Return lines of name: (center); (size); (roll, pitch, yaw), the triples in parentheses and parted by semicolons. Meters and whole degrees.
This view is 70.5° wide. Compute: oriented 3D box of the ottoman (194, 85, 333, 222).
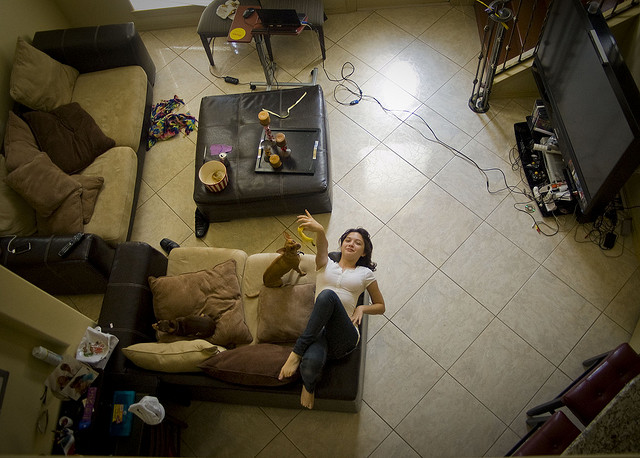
ottoman: (-0.619, -0.925, 4.850); (1.452, 0.554, 1.589); (-8, 73, -2)

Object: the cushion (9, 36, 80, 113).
cushion: (-2.909, -1.539, 4.742); (0.213, 0.749, 0.828); (-8, 66, 25)

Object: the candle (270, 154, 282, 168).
candle: (-0.421, -0.660, 4.385); (0.117, 0.119, 0.085); (-7, 43, -10)

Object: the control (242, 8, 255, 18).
control: (-0.776, -2.347, 4.901); (0.124, 0.082, 0.091); (-31, 52, -30)

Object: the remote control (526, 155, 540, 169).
remote control: (2.177, -0.687, 4.616); (0.117, 0.045, 0.137); (5, 72, 22)

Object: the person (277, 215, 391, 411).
person: (0.062, 0.599, 3.656); (0.589, 1.446, 1.073); (3, 6, 36)

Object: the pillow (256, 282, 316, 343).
pillow: (-0.293, 0.694, 3.817); (0.450, 0.146, 0.489); (1, 74, 12)

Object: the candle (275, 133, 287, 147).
candle: (-0.384, -0.869, 4.401); (0.091, 0.128, 0.105); (-17, 46, -20)

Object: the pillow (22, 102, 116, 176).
pillow: (-2.577, -0.966, 4.617); (0.734, 0.206, 0.727); (-41, 100, -38)

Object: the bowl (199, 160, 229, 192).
bowl: (-1.042, -0.528, 4.453); (0.256, 0.175, 0.309); (-11, 75, 0)

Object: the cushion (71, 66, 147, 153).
cushion: (-2.264, -1.309, 5.138); (0.743, 0.272, 1.231); (-8, 74, -1)

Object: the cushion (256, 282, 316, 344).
cushion: (-0.292, 0.699, 3.813); (0.450, 0.144, 0.490); (0, 74, 12)

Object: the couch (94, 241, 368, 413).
couch: (-0.762, 0.870, 4.036); (2.061, 1.032, 1.422); (1, 50, 8)

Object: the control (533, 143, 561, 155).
control: (2.261, -0.802, 4.483); (0.266, 0.047, 0.062); (15, 66, 15)

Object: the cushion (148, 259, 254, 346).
cushion: (-0.991, 0.734, 4.078); (0.650, 0.204, 0.711); (-8, 70, -10)

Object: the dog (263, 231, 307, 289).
dog: (-0.309, 0.262, 3.819); (0.368, 0.502, 0.283); (-19, 46, -1)

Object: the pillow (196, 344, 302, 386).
pillow: (-0.587, 1.037, 3.583); (0.707, 0.137, 0.322); (4, 44, 1)

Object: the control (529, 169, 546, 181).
control: (2.212, -0.537, 4.592); (0.095, 0.108, 0.117); (-7, 76, 5)

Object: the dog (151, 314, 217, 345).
dog: (-1.136, 0.821, 3.776); (0.335, 0.135, 0.313); (-8, 41, 2)

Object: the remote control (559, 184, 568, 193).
remote control: (2.330, -0.391, 4.330); (0.052, 0.052, 0.058); (9, 97, 16)

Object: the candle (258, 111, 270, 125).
candle: (-0.530, -1.065, 4.306); (0.083, 0.133, 0.147); (-1, 43, -3)

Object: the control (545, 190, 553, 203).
control: (2.227, -0.334, 4.386); (0.016, 0.067, 0.072); (18, 89, -13)

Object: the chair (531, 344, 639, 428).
chair: (2.075, 1.241, 3.521); (0.425, 0.680, 0.434); (-34, 80, 11)

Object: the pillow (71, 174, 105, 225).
pillow: (-2.272, -0.289, 4.450); (0.381, 0.120, 0.415); (8, 84, -10)

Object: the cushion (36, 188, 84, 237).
cushion: (-2.429, -0.125, 4.232); (0.370, 0.120, 0.431); (-6, 80, 0)

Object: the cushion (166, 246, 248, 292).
cushion: (-1.091, 0.283, 3.997); (0.497, 0.266, 0.427); (0, 71, -1)

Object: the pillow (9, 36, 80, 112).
pillow: (-2.913, -1.546, 4.723); (0.211, 0.731, 0.830); (-7, 67, 21)

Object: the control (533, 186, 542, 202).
control: (2.151, -0.355, 4.480); (0.098, 0.026, 0.121); (0, 83, 36)

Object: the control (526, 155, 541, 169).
control: (2.202, -0.687, 4.608); (0.122, 0.035, 0.133); (1, 64, 31)

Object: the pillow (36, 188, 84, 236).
pillow: (-2.425, -0.105, 4.305); (0.295, 0.417, 0.405); (-28, 58, -34)

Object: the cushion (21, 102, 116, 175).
cushion: (-2.554, -0.931, 4.718); (0.712, 0.213, 0.765); (-35, 92, -41)

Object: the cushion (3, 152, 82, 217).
cushion: (-2.620, -0.439, 4.369); (0.609, 0.177, 0.567); (47, 69, 0)
